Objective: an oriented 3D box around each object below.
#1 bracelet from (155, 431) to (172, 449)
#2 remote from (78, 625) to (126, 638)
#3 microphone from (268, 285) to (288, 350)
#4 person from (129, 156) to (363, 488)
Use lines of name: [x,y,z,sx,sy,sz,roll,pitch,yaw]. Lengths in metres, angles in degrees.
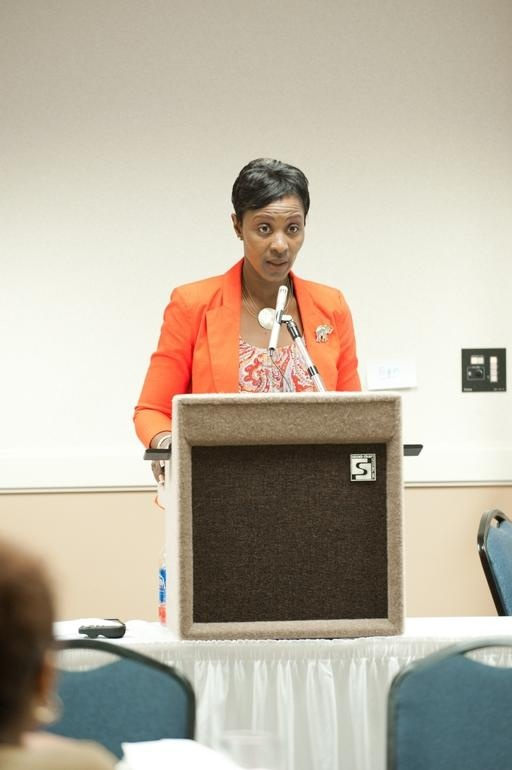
bracelet: [-0.160,0.095,1.225,0.024,0.018,0.030,-2,-5,1]
remote: [-0.262,0.421,1.220,0.041,0.012,0.041,1,-7,-5]
microphone: [0.043,-0.114,1.220,0.023,0.169,0.025,6,-32,2]
person: [0.011,-0.151,1.517,0.522,0.709,0.339,2,-7,-9]
